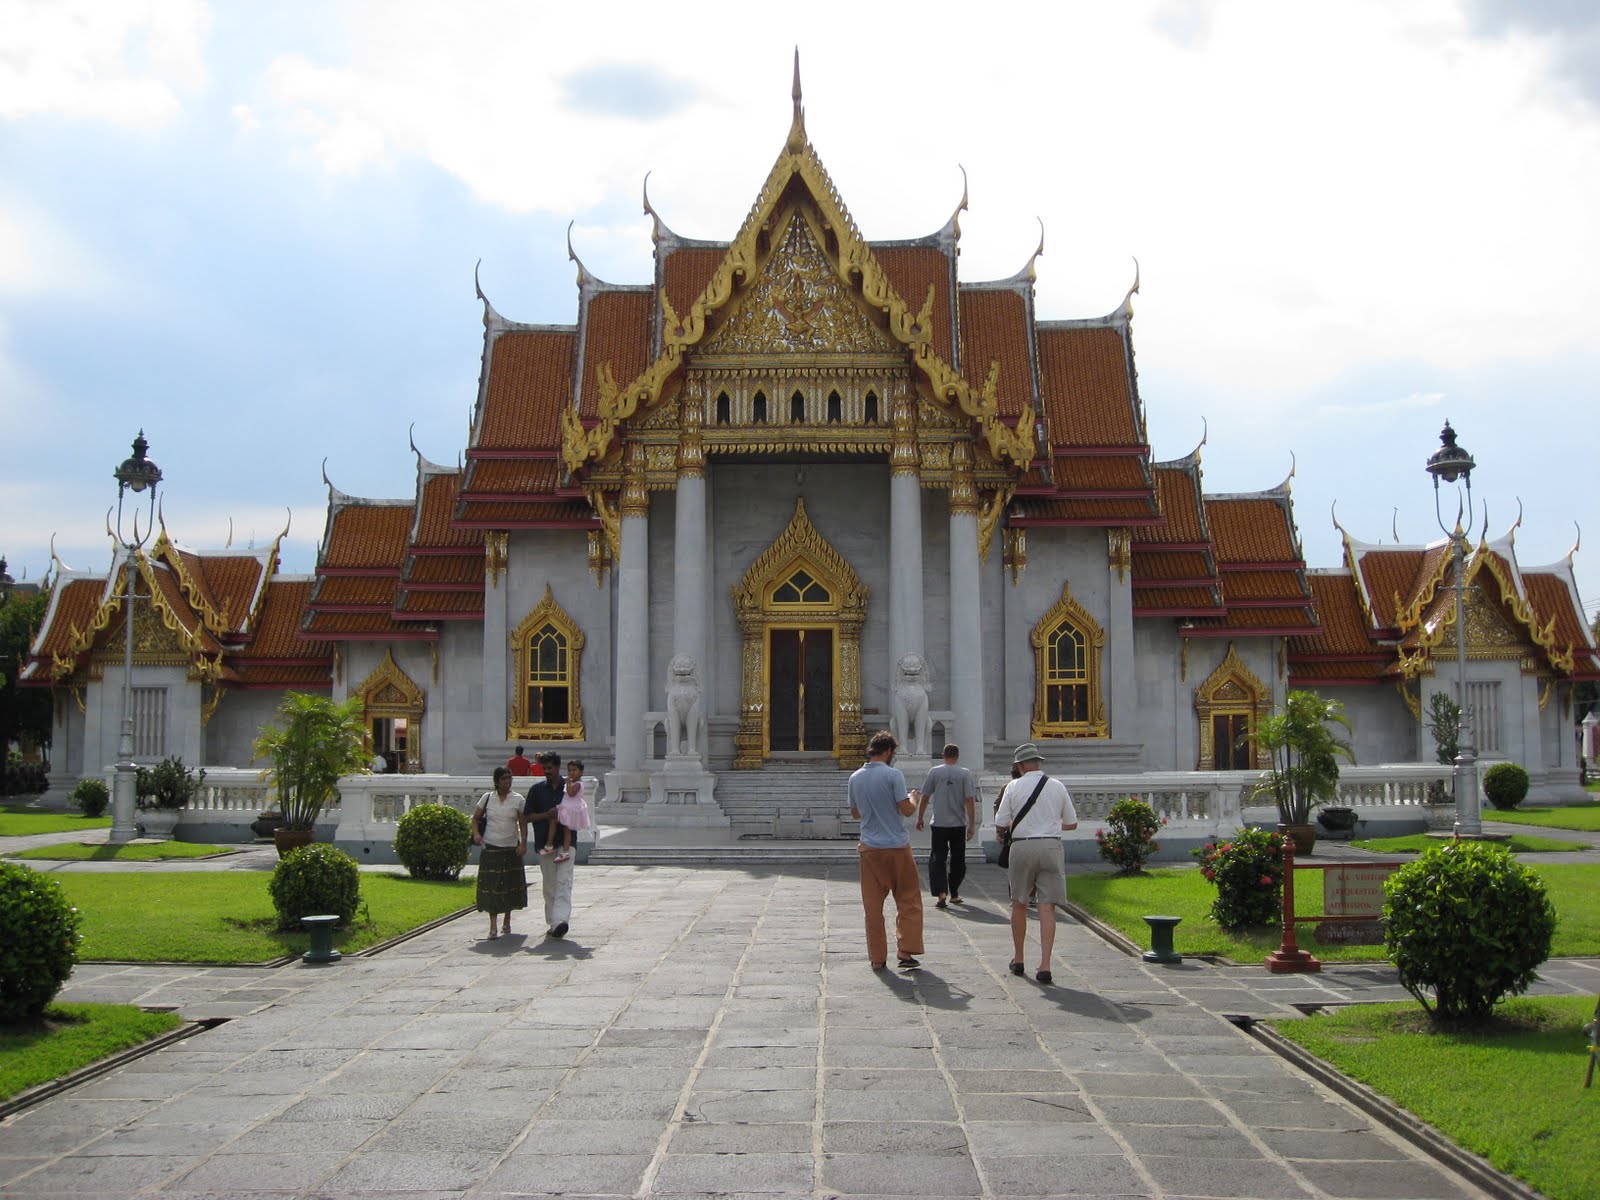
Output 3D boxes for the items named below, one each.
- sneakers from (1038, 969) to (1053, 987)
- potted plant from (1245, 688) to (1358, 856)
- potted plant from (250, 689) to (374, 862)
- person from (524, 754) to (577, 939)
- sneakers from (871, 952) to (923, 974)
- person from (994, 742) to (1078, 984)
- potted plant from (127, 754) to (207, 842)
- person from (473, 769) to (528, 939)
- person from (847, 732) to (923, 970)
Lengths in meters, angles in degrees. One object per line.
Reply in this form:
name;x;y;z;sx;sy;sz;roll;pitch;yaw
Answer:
sneakers;2.165;3.395;14.663;0.099;0.103;0.246;-1;-13;2
potted plant;7.759;2.682;25.452;1.248;2.442;1.690;0;-1;15
potted plant;-8.132;2.841;26.936;1.560;2.521;1.989;0;-1;-18
person;-2.756;2.622;17.624;0.497;1.822;1.451;0;-1;-9
sneakers;0.873;3.386;15.234;0.450;0.190;0.163;-2;-1;-3
person;2.204;2.469;15.460;0.707;2.153;0.761;-5;-11;34
potted plant;-11.650;3.640;30.100;1.265;1.808;1.495;0;-5;-11
person;-3.252;2.691;17.498;0.497;1.753;0.754;0;-1;-11
person;0.801;2.372;15.622;0.679;2.139;1.412;0;-1;2
